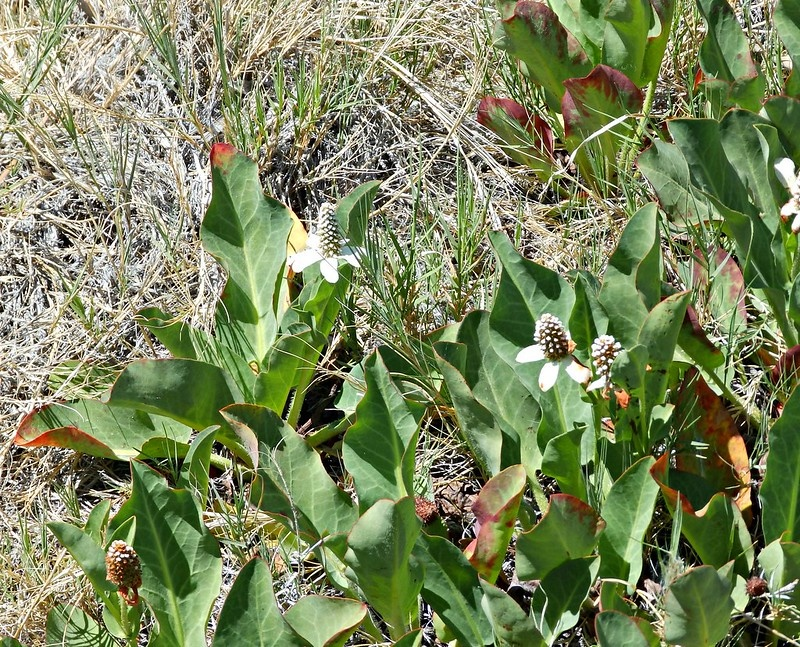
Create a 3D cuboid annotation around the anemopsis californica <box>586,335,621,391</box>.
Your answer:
[{"bbox_3d":[0.445,0.083,1.939,0.082,0.092,0.083,-12,48,6],"label":"anemopsis californica"}]

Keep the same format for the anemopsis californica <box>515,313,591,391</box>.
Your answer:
[{"bbox_3d":[0.337,0.049,1.961,0.156,0.137,0.172,-11,22,38],"label":"anemopsis californica"}]
